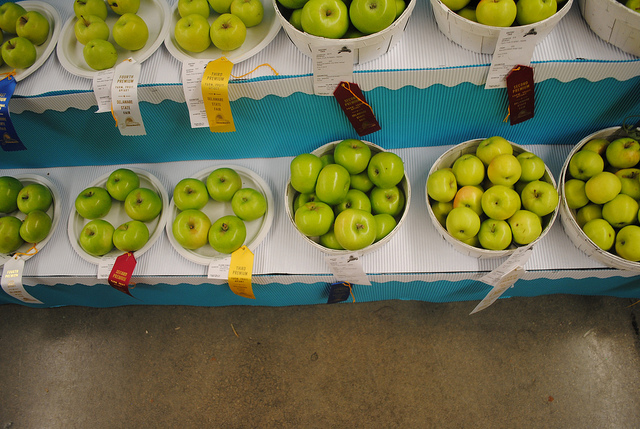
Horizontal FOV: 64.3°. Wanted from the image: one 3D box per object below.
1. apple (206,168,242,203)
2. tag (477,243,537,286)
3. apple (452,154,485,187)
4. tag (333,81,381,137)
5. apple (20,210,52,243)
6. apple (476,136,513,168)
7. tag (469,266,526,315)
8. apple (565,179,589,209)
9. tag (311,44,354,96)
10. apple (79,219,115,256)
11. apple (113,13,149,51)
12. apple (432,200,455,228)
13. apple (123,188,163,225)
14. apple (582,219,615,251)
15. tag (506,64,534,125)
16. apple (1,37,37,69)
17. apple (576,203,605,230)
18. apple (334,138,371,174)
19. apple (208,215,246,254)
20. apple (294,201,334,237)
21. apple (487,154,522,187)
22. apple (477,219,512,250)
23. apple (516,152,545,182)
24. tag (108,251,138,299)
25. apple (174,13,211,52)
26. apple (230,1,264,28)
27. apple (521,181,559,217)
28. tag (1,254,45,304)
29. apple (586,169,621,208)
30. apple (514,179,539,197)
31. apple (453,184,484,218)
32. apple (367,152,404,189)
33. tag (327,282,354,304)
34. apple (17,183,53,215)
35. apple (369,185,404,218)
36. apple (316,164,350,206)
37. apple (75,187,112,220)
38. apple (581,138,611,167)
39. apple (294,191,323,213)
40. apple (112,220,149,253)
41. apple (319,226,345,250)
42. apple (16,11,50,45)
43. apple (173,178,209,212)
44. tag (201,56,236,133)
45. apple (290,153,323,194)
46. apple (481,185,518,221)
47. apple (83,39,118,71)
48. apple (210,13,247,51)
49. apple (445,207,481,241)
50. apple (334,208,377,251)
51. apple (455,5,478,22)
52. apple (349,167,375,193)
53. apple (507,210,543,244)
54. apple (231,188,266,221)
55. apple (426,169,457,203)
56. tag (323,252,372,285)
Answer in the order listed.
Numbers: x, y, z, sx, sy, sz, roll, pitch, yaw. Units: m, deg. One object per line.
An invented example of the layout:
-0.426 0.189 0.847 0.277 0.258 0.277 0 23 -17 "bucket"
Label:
-0.498 -0.156 2.755 0.148 0.157 0.171 2 65 0 "apple"
0.911 0.254 2.560 0.121 0.378 0.033 42 30 -6 "tag"
0.724 -0.214 2.541 0.134 0.151 0.145 -17 30 7 "apple"
0.193 -0.539 2.549 0.137 0.367 0.043 -13 47 21 "tag"
-1.519 0.067 2.759 0.163 0.160 0.169 8 92 -2 "apple"
0.874 -0.288 2.581 0.154 0.165 0.173 7 88 31 "apple"
0.900 0.382 2.632 0.115 0.432 0.025 8 49 -17 "tag"
1.245 -0.101 2.502 0.112 0.114 0.133 -8 83 8 "apple"
0.073 -0.679 2.405 0.187 0.011 0.279 -2 69 5 "tag"
-1.133 0.122 2.729 0.158 0.172 0.181 -9 83 1 "apple"
-0.920 -0.903 2.546 0.124 0.132 0.163 40 75 19 "apple"
0.625 -0.019 2.636 0.107 0.127 0.115 20 28 7 "apple"
-0.894 -0.030 2.706 0.165 0.179 0.189 -10 88 -6 "apple"
1.342 0.091 2.461 0.114 0.064 0.149 -40 71 -12 "apple"
0.978 -0.584 2.493 0.129 0.349 0.019 -18 47 10 "tag"
-1.474 -0.810 2.554 0.100 0.125 0.114 16 77 10 "apple"
1.338 0.003 2.559 0.104 0.137 0.106 -16 34 -29 "apple"
0.166 -0.280 2.620 0.149 0.170 0.164 -2 41 -12 "apple"
-0.457 0.105 2.619 0.189 0.121 0.160 -35 69 -10 "apple"
-0.022 0.043 2.564 0.198 0.178 0.226 -2 22 -17 "apple"
0.890 -0.210 2.534 0.135 0.158 0.158 6 25 4 "apple"
0.844 0.101 2.464 0.156 0.075 0.136 7 68 6 "apple"
1.031 -0.228 2.558 0.123 0.140 0.128 -18 25 -18 "apple"
-1.011 0.303 2.666 0.113 0.204 0.221 16 81 1 "tag"
-0.602 -0.881 2.547 0.153 0.159 0.182 -2 83 6 "apple"
-0.347 -0.992 2.495 0.118 0.123 0.138 2 60 4 "apple"
1.060 -0.076 2.473 0.167 0.079 0.143 20 70 12 "apple"
-1.604 0.354 2.849 0.200 0.134 0.234 1 98 6 "tag"
1.358 -0.124 2.471 0.145 0.155 0.170 -2 90 37 "apple"
1.030 -0.128 2.571 0.084 0.105 0.089 34 81 26 "apple"
0.731 -0.073 2.567 0.128 0.141 0.151 -7 96 -6 "apple"
0.338 -0.210 2.575 0.183 0.179 0.208 -1 74 15 "apple"
0.114 0.422 2.756 0.188 0.162 0.022 0 46 -22 "tag"
-1.538 -0.104 2.847 0.171 0.189 0.188 0 84 -18 "apple"
0.345 -0.066 2.636 0.146 0.152 0.155 33 74 10 "apple"
0.072 -0.136 2.522 0.144 0.179 0.172 16 69 11 "apple"
-1.174 -0.048 2.757 0.153 0.170 0.173 5 57 -9 "apple"
1.360 -0.299 2.585 0.109 0.129 0.129 -19 24 11 "apple"
-0.063 -0.051 2.566 0.090 0.092 0.104 6 82 -2 "apple"
-0.975 0.121 2.673 0.192 0.101 0.136 -23 67 -6 "apple"
0.062 0.137 2.552 0.100 0.128 0.115 -14 77 -4 "apple"
-1.440 -0.950 2.599 0.122 0.144 0.131 28 89 21 "apple"
-0.659 -0.101 2.764 0.156 0.157 0.163 -29 71 -13 "apple"
-0.481 -0.596 2.562 0.132 0.257 0.262 6 67 7 "tag"
-0.043 -0.211 2.592 0.150 0.214 0.178 -3 39 1 "apple"
0.864 -0.043 2.507 0.143 0.151 0.166 16 92 10 "apple"
-1.060 -0.791 2.517 0.127 0.108 0.116 11 68 8 "apple"
-0.422 -0.879 2.461 0.145 0.157 0.168 -1 89 2 "apple"
0.701 0.043 2.485 0.164 0.125 0.151 10 68 8 "apple"
0.176 0.093 2.529 0.217 0.231 0.257 4 100 5 "apple"
0.700 -0.948 2.450 0.079 0.097 0.087 22 86 19 "apple"
0.213 -0.181 2.615 0.111 0.113 0.117 -8 102 -37 "apple"
0.976 0.060 2.438 0.133 0.150 0.167 9 104 16 "apple"
-0.358 -0.052 2.717 0.148 0.162 0.163 -20 56 0 "apple"
0.607 -0.139 2.529 0.148 0.110 0.138 0 67 4 "apple"
0.143 0.279 2.559 0.187 0.011 0.271 1 29 -6 "tag"
